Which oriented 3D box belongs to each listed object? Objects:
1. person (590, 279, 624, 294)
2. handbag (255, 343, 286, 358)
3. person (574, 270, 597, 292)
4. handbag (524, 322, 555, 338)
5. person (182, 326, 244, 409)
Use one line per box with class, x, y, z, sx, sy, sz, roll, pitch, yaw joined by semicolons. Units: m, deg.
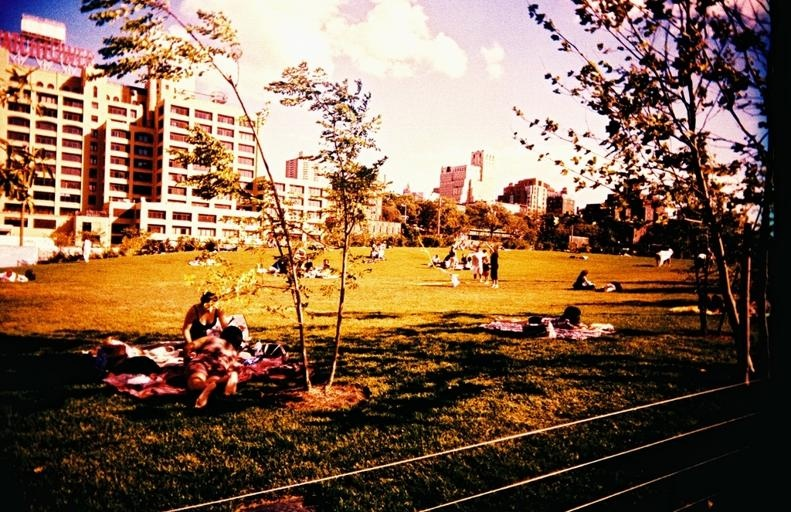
person;10.354;1.495;28.404;1.329;0.429;1.640;3;7;16
handbag;-3.395;2.534;15.592;0.550;0.199;0.433;2;20;2
person;9.699;1.294;29.602;1.165;1.323;1.012;-4;6;-14
handbag;4.493;2.281;18.049;1.013;0.390;0.568;3;7;11
person;-4.330;2.639;13.456;1.245;1.399;1.112;1;7;-7
